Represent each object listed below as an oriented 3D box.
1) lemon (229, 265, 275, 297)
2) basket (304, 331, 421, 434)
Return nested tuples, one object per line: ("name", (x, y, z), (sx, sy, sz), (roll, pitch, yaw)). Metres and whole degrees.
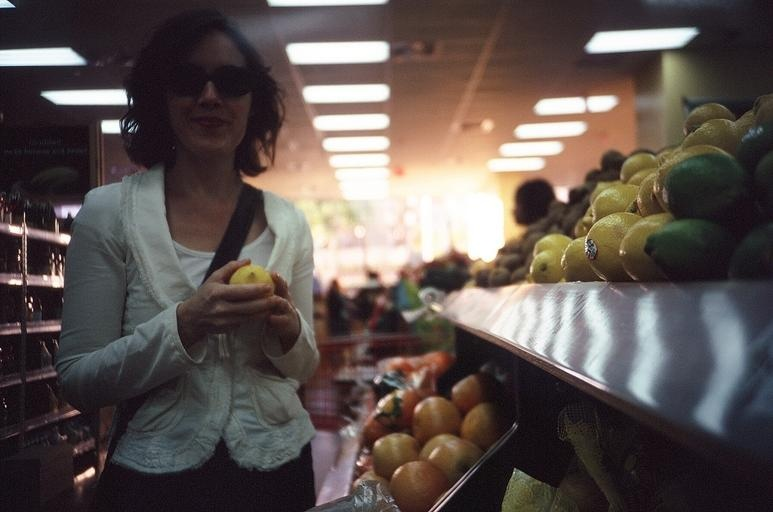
("lemon", (-0.316, 0.055, 1.385), (0.071, 0.085, 0.081), (-1, 6, -35))
("basket", (-0.121, 0.525, 2.379), (0.240, 0.197, 0.434), (0, -5, -1))
